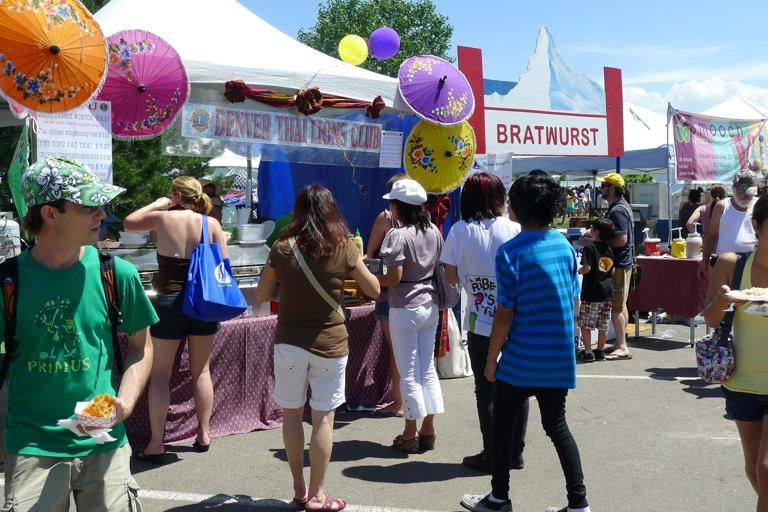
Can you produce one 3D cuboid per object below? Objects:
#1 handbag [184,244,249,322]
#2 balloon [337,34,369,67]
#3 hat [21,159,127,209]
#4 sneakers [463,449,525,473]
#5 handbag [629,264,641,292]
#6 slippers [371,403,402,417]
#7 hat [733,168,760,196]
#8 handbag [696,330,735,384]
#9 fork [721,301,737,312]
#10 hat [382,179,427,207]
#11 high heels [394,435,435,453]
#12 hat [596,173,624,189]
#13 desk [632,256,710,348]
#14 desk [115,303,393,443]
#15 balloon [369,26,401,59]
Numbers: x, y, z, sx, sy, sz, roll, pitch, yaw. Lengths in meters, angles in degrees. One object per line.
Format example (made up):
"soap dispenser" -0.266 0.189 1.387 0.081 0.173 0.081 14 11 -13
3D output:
"handbag" -1.438 0.163 6.161 0.400 0.901 0.602 -13 9 -19
"balloon" -0.340 -2.338 8.394 0.326 0.403 0.812 0 7 -2
"hat" -1.709 -0.405 4.036 0.525 0.278 0.340 -7 10 -2
"sneakers" 0.900 1.639 6.000 0.503 0.217 0.186 2 4 25
"handbag" 3.149 0.259 9.258 0.121 0.368 0.253 7 4 30
"slippers" 0.039 1.487 7.155 0.294 0.124 0.111 5 -9 18
"hat" 3.768 -0.763 7.701 0.183 0.182 0.295 -1 27 18
"handbag" 2.178 0.635 4.838 0.255 0.370 0.200 2 -7 10
"fork" 2.246 0.331 4.776 0.082 0.035 0.258 -8 5 40
"hat" 0.189 -0.531 6.099 0.267 0.145 0.206 14 17 25
"high heels" 0.256 1.572 6.293 0.239 0.093 0.172 2 2 37
"hat" 2.756 -0.919 8.928 0.275 0.156 0.202 6 9 14
"desk" 3.885 0.583 9.898 0.914 1.090 0.965 4 1 20
"desk" -1.141 1.085 6.829 2.443 1.030 0.350 -6 -15 -10
"balloon" -0.014 -2.515 8.623 0.336 0.438 0.836 1 6 -1
